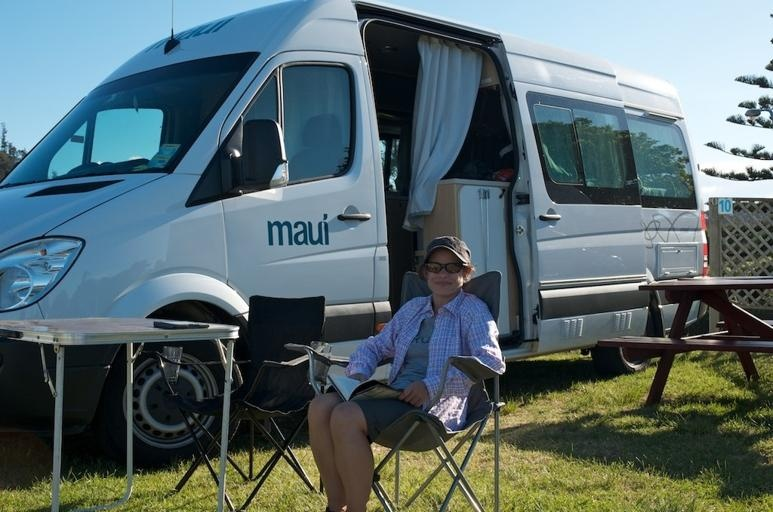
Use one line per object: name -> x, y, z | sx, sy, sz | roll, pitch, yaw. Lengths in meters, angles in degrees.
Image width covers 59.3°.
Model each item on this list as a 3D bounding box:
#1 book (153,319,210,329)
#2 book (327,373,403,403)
book -> -1.242, 0.407, 4.102 | 0.345, 0.029, 0.255 | -1, 5, -6
book -> -0.152, 0.820, 4.233 | 0.443, 0.149, 0.244 | 3, 6, 32
